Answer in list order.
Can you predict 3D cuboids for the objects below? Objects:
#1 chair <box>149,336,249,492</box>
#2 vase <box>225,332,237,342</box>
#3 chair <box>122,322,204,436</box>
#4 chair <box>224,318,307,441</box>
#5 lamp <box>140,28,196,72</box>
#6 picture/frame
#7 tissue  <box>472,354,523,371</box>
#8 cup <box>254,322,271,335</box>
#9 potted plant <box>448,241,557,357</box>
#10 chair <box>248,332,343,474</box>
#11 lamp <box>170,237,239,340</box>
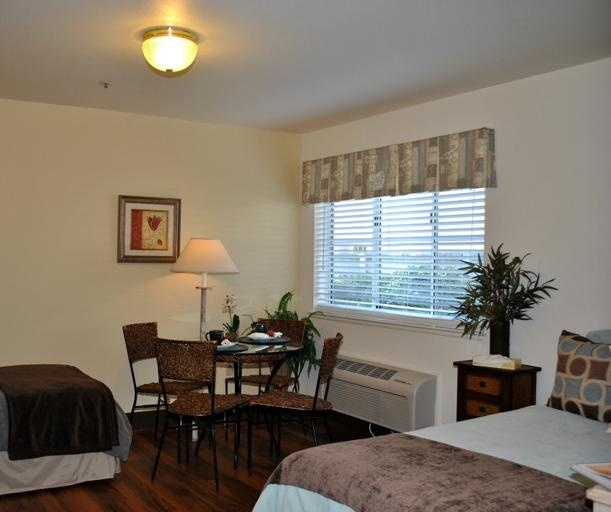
[{"bbox_3d":[-0.832,1.106,3.847,0.716,1.115,1.231,-3,3,-16],"label":"chair"},{"bbox_3d":[-0.599,0.656,4.020,0.070,0.055,0.072,2,0,23],"label":"vase"},{"bbox_3d":[-1.221,1.080,4.299,0.553,0.902,0.485,0,-1,16],"label":"chair"},{"bbox_3d":[-0.364,1.076,4.498,0.513,1.017,0.582,-2,-8,33],"label":"chair"},{"bbox_3d":[-0.838,-1.257,3.097,0.335,0.240,0.345,3,13,8],"label":"lamp"},{"bbox_3d":[-1.546,-0.260,4.795,0.620,0.738,0.074,1,0,-32],"label":"picture/frame"},{"bbox_3d":[1.336,0.745,3.483,0.305,0.076,0.190,0,3,33],"label":"tissue "},{"bbox_3d":[-0.358,0.622,4.242,0.131,0.099,0.130,2,-6,0],"label":"cup"},{"bbox_3d":[1.446,0.330,3.650,0.708,0.822,0.568,1,4,42],"label":"potted plant"},{"bbox_3d":[-0.090,1.111,3.740,0.653,1.007,0.618,1,-5,30],"label":"chair"},{"bbox_3d":[-0.981,0.304,4.584,0.485,0.911,0.617,-5,4,-43],"label":"lamp"}]
